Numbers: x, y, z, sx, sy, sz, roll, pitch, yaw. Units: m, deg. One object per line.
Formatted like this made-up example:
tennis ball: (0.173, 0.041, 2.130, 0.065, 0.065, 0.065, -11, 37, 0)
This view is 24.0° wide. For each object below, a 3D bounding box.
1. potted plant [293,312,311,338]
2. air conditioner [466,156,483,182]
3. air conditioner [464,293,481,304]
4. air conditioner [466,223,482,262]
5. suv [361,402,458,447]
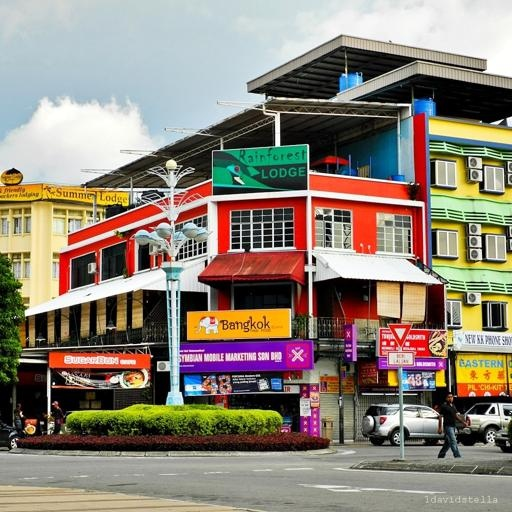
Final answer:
potted plant: (1.881, 2.918, 50.032, 0.858, 1.289, 0.883, -2, -2, 24)
air conditioner: (10.197, -4.144, 56.520, 1.135, 1.657, 0.482, 4, -7, -43)
air conditioner: (10.022, 1.928, 55.868, 0.826, 0.613, 0.347, 7, -14, -36)
air conditioner: (10.184, -0.716, 56.231, 0.724, 1.718, 0.425, 5, -13, -29)
suv: (5.714, 6.359, 45.037, 3.573, 1.466, 1.720, -1, -3, -23)
